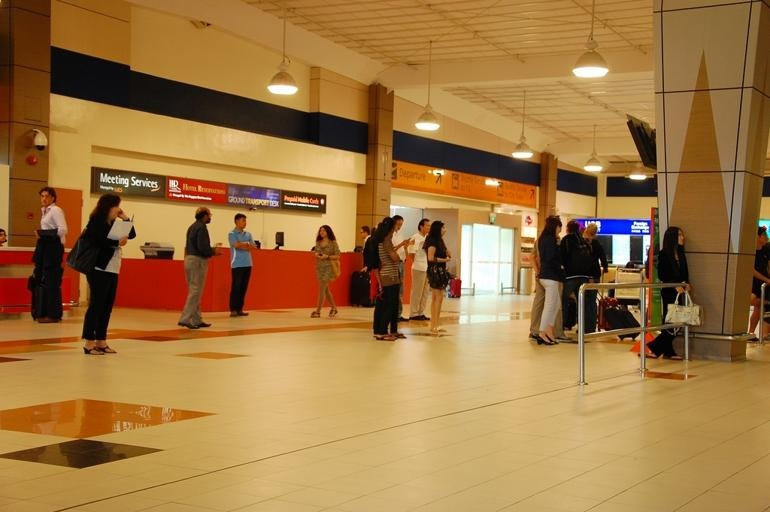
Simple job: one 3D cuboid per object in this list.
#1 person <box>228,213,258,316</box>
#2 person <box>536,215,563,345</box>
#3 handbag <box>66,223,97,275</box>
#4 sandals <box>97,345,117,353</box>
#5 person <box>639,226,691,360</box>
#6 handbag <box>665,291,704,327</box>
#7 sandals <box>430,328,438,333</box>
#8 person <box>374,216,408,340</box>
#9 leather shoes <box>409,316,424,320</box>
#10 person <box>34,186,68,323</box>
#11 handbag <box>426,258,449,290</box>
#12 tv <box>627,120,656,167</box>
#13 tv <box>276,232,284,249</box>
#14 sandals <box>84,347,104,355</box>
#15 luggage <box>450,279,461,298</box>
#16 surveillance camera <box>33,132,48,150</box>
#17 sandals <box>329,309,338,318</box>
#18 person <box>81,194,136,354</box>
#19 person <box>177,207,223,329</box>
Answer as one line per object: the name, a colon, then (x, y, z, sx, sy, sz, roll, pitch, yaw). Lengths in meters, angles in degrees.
person: (-3.008, 0.206, 11.908, 0.493, 2.129, 0.664, 2, -2, -15)
person: (2.700, 0.389, 9.328, 0.391, 2.112, 0.518, 1, -2, 15)
handbag: (-3.817, -0.072, 7.127, 0.387, 0.380, 0.187, 1, -1, 34)
sandals: (-3.598, 1.202, 7.362, 0.236, 0.091, 0.079, 1, 1, -3)
person: (4.058, 0.520, 8.139, 0.498, 1.878, 0.530, 0, -2, 42)
handbag: (4.194, 0.748, 7.951, 0.207, 0.493, 0.486, 17, -13, -40)
sandals: (0.873, 1.328, 10.164, 0.116, 0.055, 0.152, 1, 2, -21)
person: (0.063, 0.366, 9.470, 0.479, 1.997, 0.492, 1, -2, 11)
leather shoes: (0.690, 1.343, 12.385, 0.334, 0.133, 0.105, -1, -2, -1)
person: (-5.978, -0.007, 10.130, 0.494, 1.716, 1.208, 3, -1, -31)
handbag: (0.933, 0.322, 10.125, 0.416, 0.721, 0.547, -2, 1, 4)
tv: (4.200, -1.900, 9.308, 0.394, 0.938, 1.197, 1, -1, 25)
tv: (-3.061, -0.464, 16.468, 0.177, 0.477, 0.474, -6, 9, -35)
sandals: (-3.720, 1.215, 7.265, 0.250, 0.077, 0.098, 0, 1, 15)
luggage: (2.675, 1.196, 21.645, 0.433, 0.692, 1.002, 1, -1, 7)
surveillance camera: (-7.729, -2.607, 12.785, 0.278, 0.341, 0.301, 1, -1, 42)
sandals: (-1.166, 1.295, 12.813, 0.129, 0.150, 0.381, 0, -4, 6)
person: (-3.586, 0.233, 7.236, 0.491, 1.323, 0.343, 2, -2, -28)
person: (-3.294, 0.195, 9.990, 0.561, 2.145, 0.644, 2, -2, -20)
